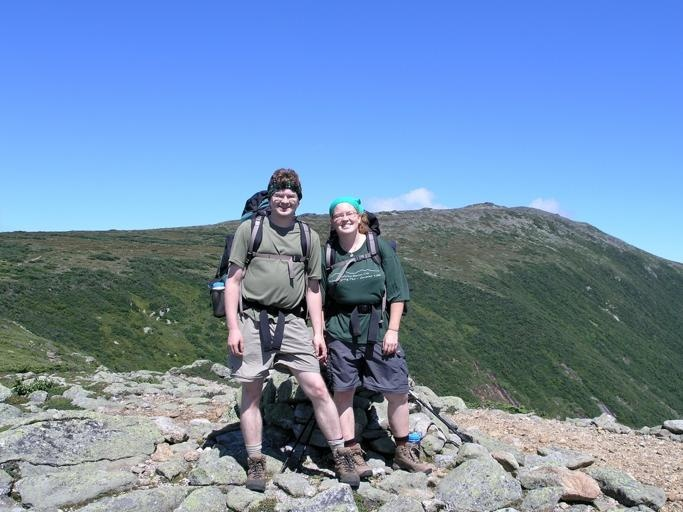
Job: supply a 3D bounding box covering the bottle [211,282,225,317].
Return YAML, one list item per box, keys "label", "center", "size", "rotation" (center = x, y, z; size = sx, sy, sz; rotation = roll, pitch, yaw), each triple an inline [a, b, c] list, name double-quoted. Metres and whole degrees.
- label: "bottle"
  center: [-1.581, 0.555, 5.692]
  size: [0.136, 0.461, 0.310]
  rotation: [1, 2, -42]

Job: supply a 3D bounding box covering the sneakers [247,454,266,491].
- label: "sneakers"
  center: [-1.056, 2.655, 5.448]
  size: [0.237, 0.398, 0.256]
  rotation: [2, 2, -10]
